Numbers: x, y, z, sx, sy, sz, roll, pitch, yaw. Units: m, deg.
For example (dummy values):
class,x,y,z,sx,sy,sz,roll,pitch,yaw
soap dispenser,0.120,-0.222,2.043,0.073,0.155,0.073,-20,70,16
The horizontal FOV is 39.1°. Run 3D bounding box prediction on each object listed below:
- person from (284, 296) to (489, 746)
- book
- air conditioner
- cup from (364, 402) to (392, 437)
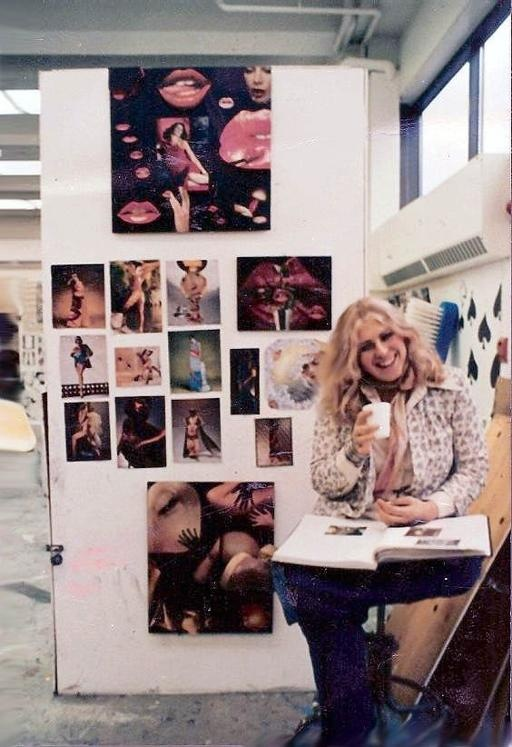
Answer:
class,x,y,z,sx,sy,sz,roll,pitch,yaw
person,0.295,0.361,1.673,0.403,1.063,0.308,-5,6,-37
book,0.277,0.371,1.616,0.474,0.094,0.179,0,5,5
air conditioner,0.440,-0.360,1.681,0.323,0.146,0.084,-14,5,41
cup,0.255,0.092,1.474,0.064,0.066,0.065,-1,-8,0
